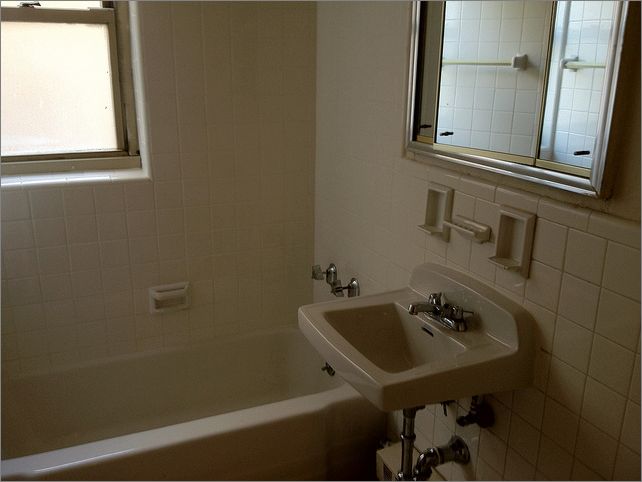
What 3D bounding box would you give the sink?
[{"bbox_3d":[0.302,0.372,1.883,0.735,0.267,0.828,0,13,-4],"label":"sink"}]
